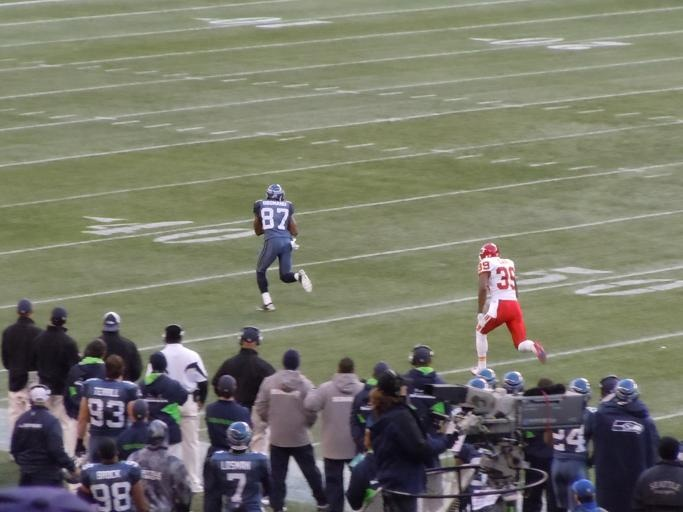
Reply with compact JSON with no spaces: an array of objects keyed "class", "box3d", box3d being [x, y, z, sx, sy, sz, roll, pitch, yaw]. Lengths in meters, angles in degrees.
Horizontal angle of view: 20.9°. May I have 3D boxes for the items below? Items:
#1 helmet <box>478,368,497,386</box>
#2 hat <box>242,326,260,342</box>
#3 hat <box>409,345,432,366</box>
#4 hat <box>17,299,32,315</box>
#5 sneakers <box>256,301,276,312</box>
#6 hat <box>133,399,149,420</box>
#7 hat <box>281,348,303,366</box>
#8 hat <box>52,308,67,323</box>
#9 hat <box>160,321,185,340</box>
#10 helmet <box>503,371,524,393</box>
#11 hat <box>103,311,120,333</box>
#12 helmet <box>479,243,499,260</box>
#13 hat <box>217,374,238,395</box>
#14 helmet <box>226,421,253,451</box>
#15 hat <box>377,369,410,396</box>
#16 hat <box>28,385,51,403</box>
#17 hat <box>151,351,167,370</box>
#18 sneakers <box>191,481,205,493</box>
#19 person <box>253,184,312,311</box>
[{"class":"helmet","box3d":[2.232,1.905,28.930,0.373,0.248,0.267,-2,5,30]},{"class":"hat","box3d":[-1.401,1.265,29.364,0.284,0.262,0.146,4,48,1]},{"class":"hat","box3d":[1.219,1.536,28.443,0.330,0.316,0.278,-4,-1,1]},{"class":"hat","box3d":[-5.136,0.833,30.411,0.233,0.230,0.256,-4,0,-9]},{"class":"sneakers","box3d":[-1.387,0.962,34.645,0.394,0.107,0.117,3,8,12]},{"class":"hat","box3d":[-3.022,2.362,28.208,0.251,0.311,0.285,-4,0,-6]},{"class":"hat","box3d":[-0.748,1.606,29.060,0.305,0.236,0.314,2,9,1]},{"class":"hat","box3d":[-4.509,0.949,29.898,0.232,0.240,0.336,-4,0,-9]},{"class":"hat","box3d":[-2.632,1.214,29.526,0.306,0.187,0.303,-2,8,-12]},{"class":"helmet","box3d":[2.638,1.968,28.626,0.292,0.344,0.674,-4,-1,3]},{"class":"hat","box3d":[-3.624,1.040,29.675,0.284,0.182,0.355,4,19,-6]},{"class":"helmet","box3d":[2.528,-0.087,32.474,0.440,0.265,0.306,10,7,22]},{"class":"hat","box3d":[-1.742,1.969,28.527,0.336,0.264,0.336,0,21,-2]},{"class":"helmet","box3d":[-1.494,2.700,27.641,0.353,0.422,0.483,-4,0,-5]},{"class":"hat","box3d":[0.775,1.881,27.236,0.473,0.394,0.224,-3,-1,-32]},{"class":"hat","box3d":[-4.558,2.153,28.452,0.363,0.223,0.328,-1,-10,-5]},{"class":"hat","box3d":[-2.820,1.668,28.977,0.254,0.311,0.266,-4,0,-7]},{"class":"sneakers","box3d":[-2.248,3.713,29.477,0.099,0.178,0.275,-5,-2,32]},{"class":"person","box3d":[-1.132,-0.163,34.451,0.900,2.301,1.039,-5,-1,-21]}]
